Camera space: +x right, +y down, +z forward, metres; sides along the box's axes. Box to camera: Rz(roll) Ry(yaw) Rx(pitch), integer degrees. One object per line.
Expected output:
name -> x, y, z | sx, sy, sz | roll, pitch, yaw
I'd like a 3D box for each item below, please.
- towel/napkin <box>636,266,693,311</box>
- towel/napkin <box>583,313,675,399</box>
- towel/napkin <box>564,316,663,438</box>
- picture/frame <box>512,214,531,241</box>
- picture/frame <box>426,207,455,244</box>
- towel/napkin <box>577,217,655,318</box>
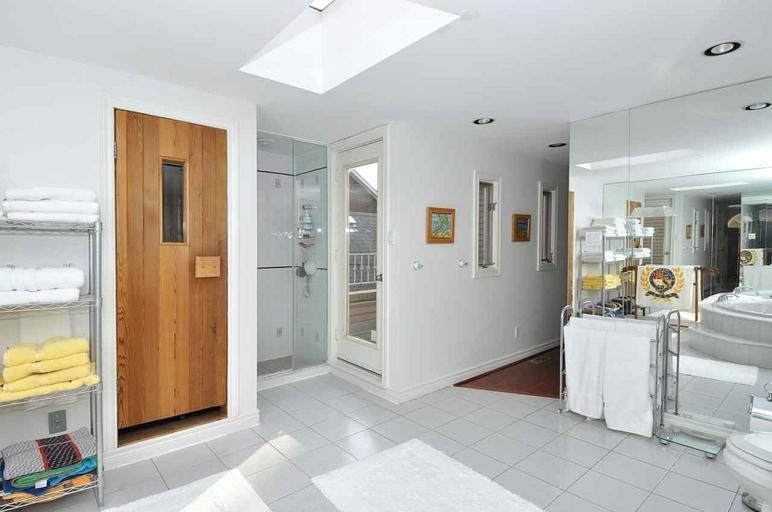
towel/napkin -> 2.812, 0.329, 4.682 | 0.490, 0.484, 0.084 | -1, -5, 43
towel/napkin -> 2.605, 0.972, 4.710 | 0.406, 0.822, 0.631 | -7, 15, -26
towel/napkin -> 2.277, 1.223, 4.621 | 1.203, 1.221, 0.475 | 1, 0, 40
picture/frame -> 1.876, -0.404, 6.545 | 0.410, 0.363, 0.032 | -2, 2, -39
picture/frame -> 0.627, -0.370, 5.562 | 0.469, 0.413, 0.033 | 3, -3, -35
towel/napkin -> 2.463, 0.100, 4.943 | 0.351, 1.066, 1.143 | 0, 0, 43
